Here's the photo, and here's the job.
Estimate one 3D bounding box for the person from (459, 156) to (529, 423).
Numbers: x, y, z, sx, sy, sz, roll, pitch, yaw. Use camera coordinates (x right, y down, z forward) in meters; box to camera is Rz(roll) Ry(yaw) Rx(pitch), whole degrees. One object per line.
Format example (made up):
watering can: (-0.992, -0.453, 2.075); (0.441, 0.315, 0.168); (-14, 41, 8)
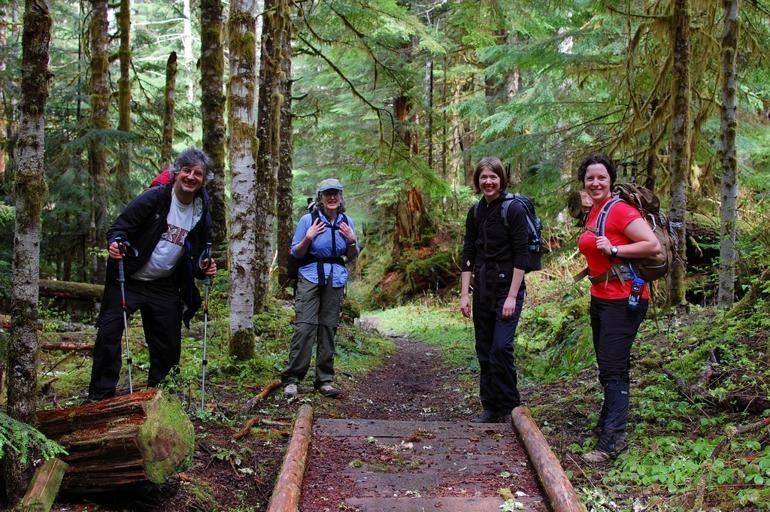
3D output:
person: (1.415, 0.434, 8.646); (0.925, 3.437, 0.461); (1, 2, 42)

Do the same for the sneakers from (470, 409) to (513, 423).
sneakers: (1.401, 2.071, 8.580); (0.513, 0.205, 0.181); (2, -11, 2)

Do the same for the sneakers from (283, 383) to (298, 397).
sneakers: (-1.318, 1.850, 9.080); (0.147, 0.120, 0.268); (0, -9, -8)

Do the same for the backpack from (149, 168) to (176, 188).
backpack: (-2.681, -0.935, 7.929); (0.283, 0.106, 0.214); (-42, 19, 2)

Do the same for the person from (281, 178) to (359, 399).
person: (-0.929, 0.469, 9.184); (1.013, 3.074, 0.511); (0, 1, -10)

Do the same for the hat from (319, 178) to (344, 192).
hat: (-0.778, -0.981, 9.140); (0.319, 0.220, 0.337); (0, 1, -9)

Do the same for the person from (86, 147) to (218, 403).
person: (-2.742, 0.165, 7.802); (1.391, 2.871, 0.527); (-1, 1, -24)
